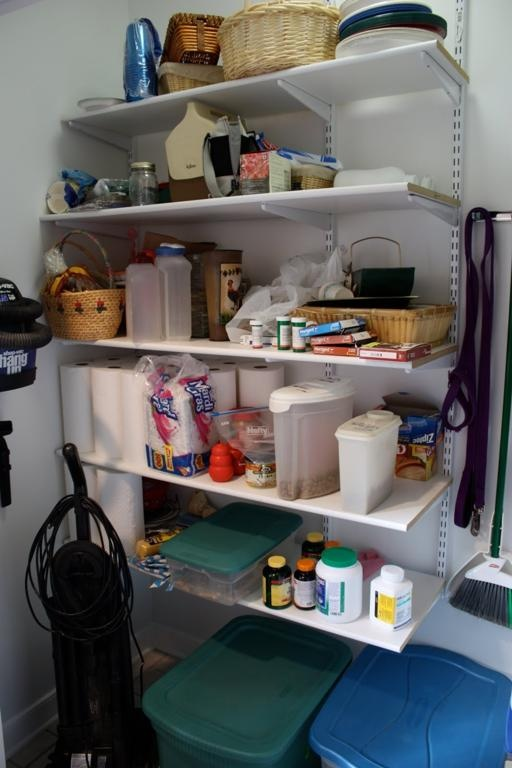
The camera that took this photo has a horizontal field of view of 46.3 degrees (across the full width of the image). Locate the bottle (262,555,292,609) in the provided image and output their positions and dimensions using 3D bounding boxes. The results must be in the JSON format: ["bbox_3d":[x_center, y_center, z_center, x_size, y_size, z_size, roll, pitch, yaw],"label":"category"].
[{"bbox_3d":[0.051,0.483,1.470,0.069,0.120,0.071,-1,17,0],"label":"bottle"}]

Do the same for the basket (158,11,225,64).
[{"bbox_3d":[-0.180,-0.886,1.602,0.119,0.071,0.174,-2,9,-15],"label":"basket"}]

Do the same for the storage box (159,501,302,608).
[{"bbox_3d":[-0.066,0.472,1.659,0.258,0.119,0.354,3,10,30],"label":"storage box"}]

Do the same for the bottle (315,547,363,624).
[{"bbox_3d":[0.178,0.448,1.373,0.129,0.159,0.139,-1,9,3],"label":"bottle"}]

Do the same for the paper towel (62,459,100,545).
[{"bbox_3d":[-0.580,0.393,1.983,0.115,0.490,0.117,2,48,-13],"label":"paper towel"}]

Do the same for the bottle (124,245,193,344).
[{"bbox_3d":[-0.269,-0.241,1.655,0.229,0.334,0.127,-7,14,-32],"label":"bottle"}]

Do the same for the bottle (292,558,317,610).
[{"bbox_3d":[0.120,0.487,1.446,0.058,0.104,0.060,2,1,0],"label":"bottle"}]

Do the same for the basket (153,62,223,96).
[{"bbox_3d":[-0.187,-0.769,1.563,0.102,0.051,0.141,14,23,33],"label":"basket"}]

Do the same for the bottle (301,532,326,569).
[{"bbox_3d":[0.150,0.440,1.562,0.064,0.116,0.065,2,-4,0],"label":"bottle"}]

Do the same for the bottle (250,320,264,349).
[{"bbox_3d":[0.000,-0.124,1.473,0.032,0.065,0.088,-4,11,2],"label":"bottle"}]

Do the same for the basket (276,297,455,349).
[{"bbox_3d":[0.252,-0.125,1.351,0.382,0.114,0.252,-1,11,15],"label":"basket"}]

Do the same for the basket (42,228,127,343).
[{"bbox_3d":[-0.480,-0.291,1.764,0.226,0.258,0.230,5,7,44],"label":"basket"}]
